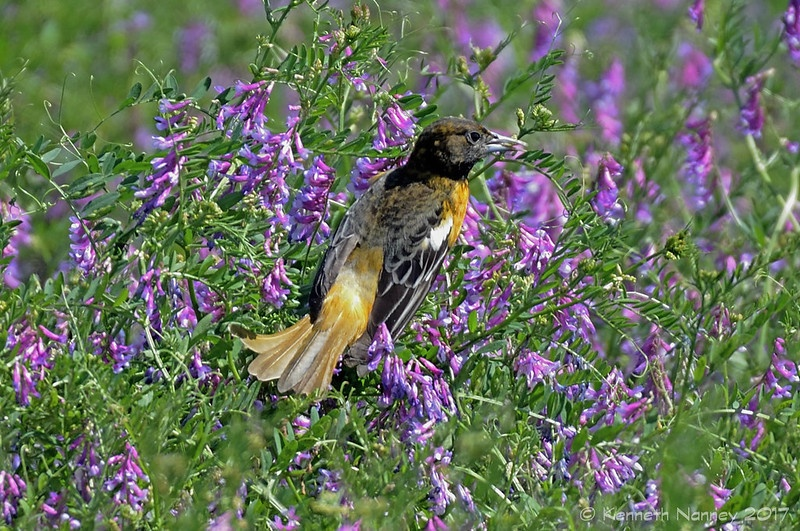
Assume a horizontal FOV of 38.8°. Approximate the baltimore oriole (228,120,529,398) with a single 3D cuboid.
[{"bbox_3d":[-0.134,-0.074,6.218,0.934,1.866,2.052,7,91,28],"label":"baltimore oriole"}]
